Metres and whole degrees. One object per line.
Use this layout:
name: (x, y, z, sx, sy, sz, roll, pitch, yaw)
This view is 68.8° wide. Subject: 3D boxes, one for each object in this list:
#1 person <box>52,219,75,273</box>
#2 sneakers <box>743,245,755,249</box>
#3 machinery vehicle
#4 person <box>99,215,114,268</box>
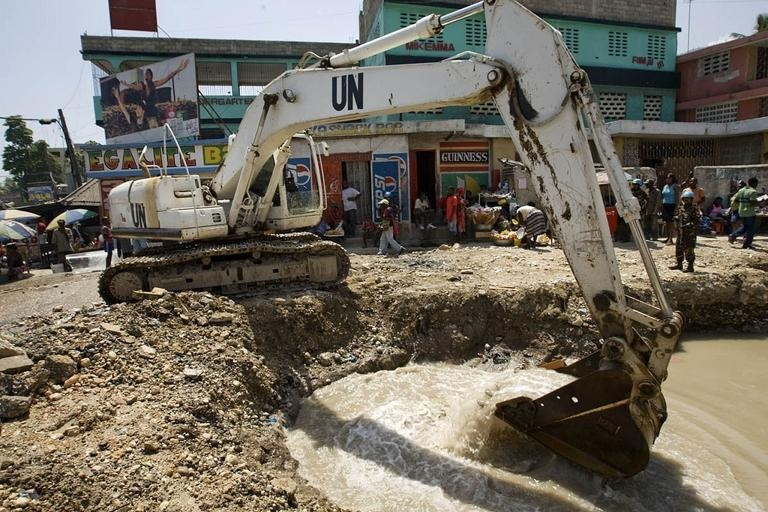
person: (-10.841, -0.345, 18.943, 0.512, 1.547, 0.500, -13, -5, 44)
sneakers: (10.492, -0.271, 16.145, 0.527, 0.088, 0.194, -6, 6, -32)
machinery vehicle: (-0.036, -0.355, 10.512, 9.972, 7.808, 2.716, 1, 7, 32)
person: (-8.931, -0.413, 18.260, 0.433, 1.743, 0.499, 0, 18, -9)
